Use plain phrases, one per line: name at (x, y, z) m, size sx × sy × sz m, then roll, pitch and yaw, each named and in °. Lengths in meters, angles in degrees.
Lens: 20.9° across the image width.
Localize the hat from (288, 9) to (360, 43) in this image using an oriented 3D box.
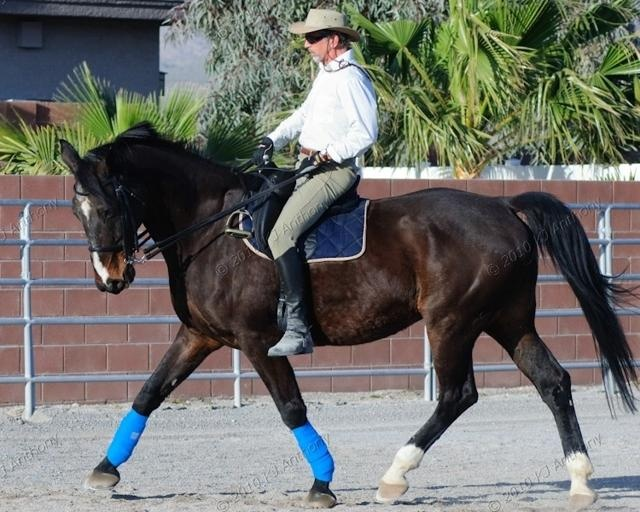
hat at (0.064, -2.338, 17.460) m, size 0.456 × 0.184 × 0.402 m, roll 2°, pitch 13°, yaw -21°

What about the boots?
boots at (-0.304, 0.464, 17.141) m, size 0.445 × 1.059 × 0.374 m, roll -2°, pitch 14°, yaw -10°

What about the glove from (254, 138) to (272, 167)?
glove at (-0.529, -1.052, 17.641) m, size 0.112 × 0.261 × 0.211 m, roll 27°, pitch -24°, yaw -37°
